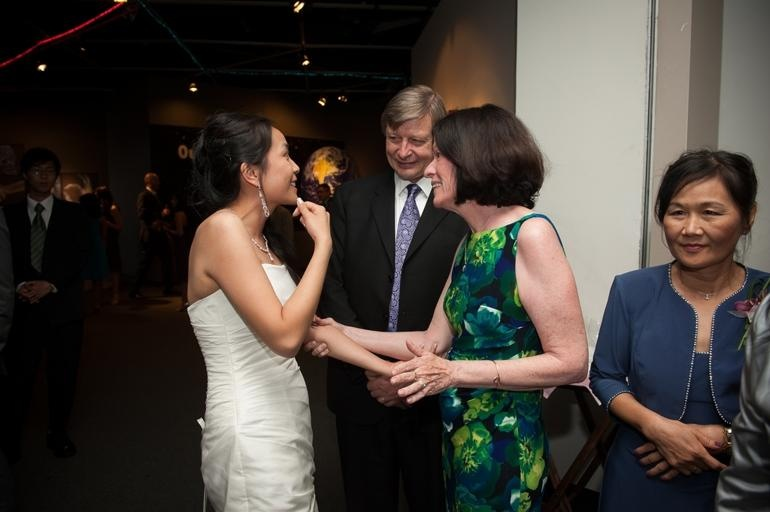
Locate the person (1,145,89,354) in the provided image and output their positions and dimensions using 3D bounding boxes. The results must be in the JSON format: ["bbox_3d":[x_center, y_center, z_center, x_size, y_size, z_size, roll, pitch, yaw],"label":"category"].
[{"bbox_3d":[-2.808,-0.125,4.683,0.392,1.369,0.563,3,14,15],"label":"person"}]

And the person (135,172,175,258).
[{"bbox_3d":[-2.378,-0.439,5.898,0.271,0.829,0.528,1,14,9],"label":"person"}]

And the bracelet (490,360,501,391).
[{"bbox_3d":[0.492,0.529,2.524,0.036,0.113,0.043,-3,14,-8],"label":"bracelet"}]
